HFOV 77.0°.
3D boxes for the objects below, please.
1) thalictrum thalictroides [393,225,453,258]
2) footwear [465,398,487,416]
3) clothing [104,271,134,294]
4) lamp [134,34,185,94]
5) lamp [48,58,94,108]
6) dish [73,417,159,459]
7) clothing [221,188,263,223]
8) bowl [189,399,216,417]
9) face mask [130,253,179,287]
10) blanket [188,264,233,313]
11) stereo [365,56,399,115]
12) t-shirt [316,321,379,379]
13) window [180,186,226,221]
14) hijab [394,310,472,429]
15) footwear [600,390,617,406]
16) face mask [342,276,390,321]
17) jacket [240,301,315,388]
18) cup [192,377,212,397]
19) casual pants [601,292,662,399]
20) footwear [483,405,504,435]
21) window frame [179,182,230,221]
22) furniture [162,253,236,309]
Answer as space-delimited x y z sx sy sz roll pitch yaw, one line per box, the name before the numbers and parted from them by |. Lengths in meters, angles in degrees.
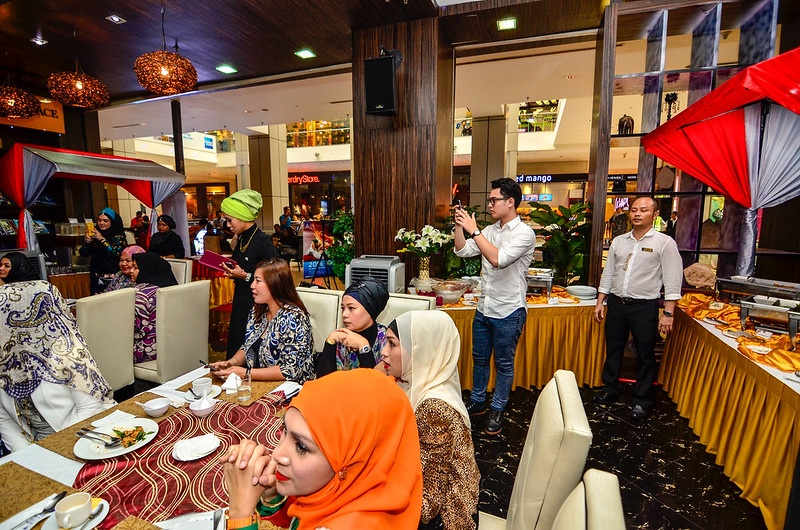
thalictrum thalictroides | 0.277 -0.293 5.093 0.413 0.265 0.396 -3 9 -37
footwear | 0.773 1.377 4.830 0.293 0.149 0.108 6 -1 -14
clothing | -2.868 0.188 5.101 0.328 0.261 0.125 10 -3 35
lamp | -2.675 -2.168 5.561 0.522 0.700 0.518 8 -20 -30
lamp | -3.999 -2.236 6.078 0.428 0.532 0.439 2 -10 -1
dish | -1.820 1.128 3.224 0.259 0.029 0.268 12 16 41
clothing | -1.583 -0.615 5.036 0.297 0.302 0.367 8 22 5
bowl | -1.346 0.978 3.399 0.103 0.073 0.128 3 3 10
face mask | -2.446 0.063 4.947 0.430 0.254 0.304 23 -2 -31
blanket | -2.241 0.290 5.947 0.548 0.654 0.104 11 12 3
stereo | -0.202 -1.895 5.357 0.335 0.576 0.188 -3 -1 5
t-shirt | -0.368 0.623 3.610 0.338 0.274 0.474 -5 38 25
window | -9.273 -2.827 23.781 2.026 2.102 0.139 -4 -10 -24
hijab | 0.220 0.655 3.578 0.580 0.873 0.849 2 -2 5
footwear | 2.068 1.323 5.017 0.233 0.111 0.086 3 -4 0
face mask | -0.246 0.272 3.847 0.336 0.324 0.322 2 -9 24
jacket | -0.930 0.601 4.145 0.857 0.638 0.516 -1 -5 40
cup | -1.403 0.860 3.518 0.104 0.096 0.130 -2 8 -21
casual pants | 2.251 0.785 4.927 0.458 1.096 0.307 7 9 42
footwear | 0.860 1.450 4.590 0.106 0.134 0.312 1 -1 20
window frame | -9.277 -2.777 23.810 0.137 2.235 2.346 -3 4 45
furniture | -2.720 0.203 6.775 0.918 0.608 0.948 7 9 33
